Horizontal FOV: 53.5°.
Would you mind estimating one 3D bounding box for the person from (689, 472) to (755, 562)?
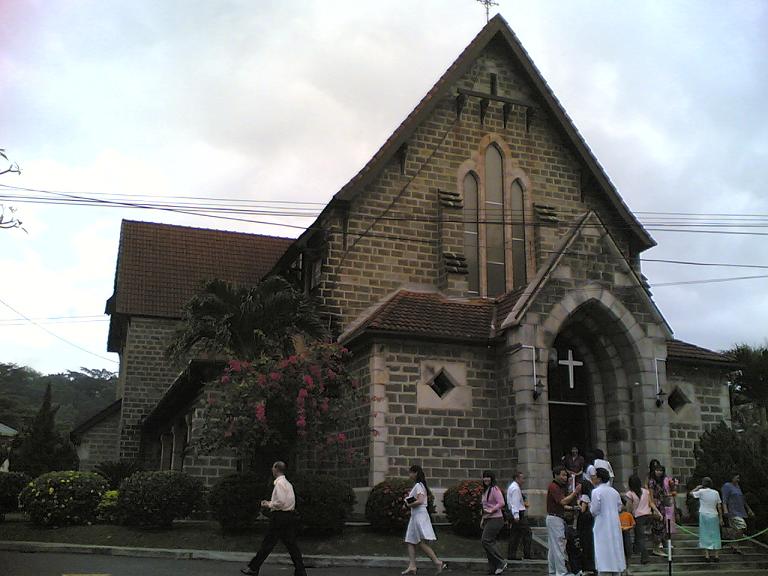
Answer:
[{"bbox_3d":[8.550,6.139,20.121,0.672,2.061,1.054,-5,-20,22],"label":"person"}]
